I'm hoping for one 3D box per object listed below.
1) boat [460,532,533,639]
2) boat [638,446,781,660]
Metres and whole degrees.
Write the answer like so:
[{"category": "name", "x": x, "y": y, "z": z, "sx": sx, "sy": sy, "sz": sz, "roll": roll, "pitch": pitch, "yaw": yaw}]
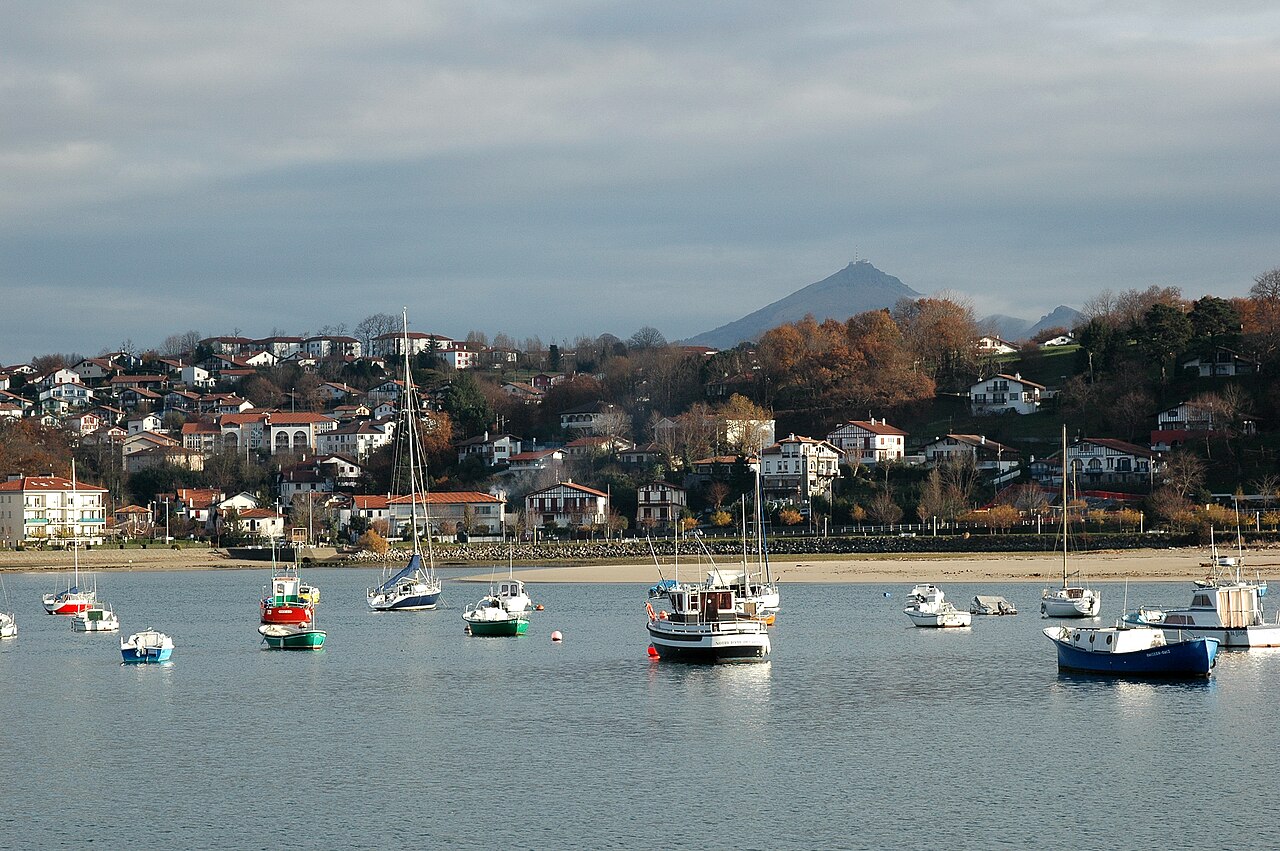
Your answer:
[{"category": "boat", "x": -8.250, "y": 10.013, "z": 172.151, "sx": 3.445, "sy": 2.906, "sz": 12.476, "roll": -3, "pitch": 10, "yaw": 0}, {"category": "boat", "x": 3.768, "y": 9.378, "z": 162.160, "sx": 6.493, "sy": 5.315, "sz": 10.477, "roll": -2, "pitch": 10, "yaw": 2}]
